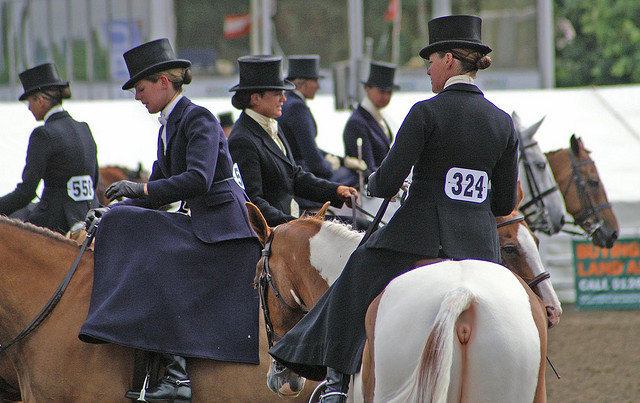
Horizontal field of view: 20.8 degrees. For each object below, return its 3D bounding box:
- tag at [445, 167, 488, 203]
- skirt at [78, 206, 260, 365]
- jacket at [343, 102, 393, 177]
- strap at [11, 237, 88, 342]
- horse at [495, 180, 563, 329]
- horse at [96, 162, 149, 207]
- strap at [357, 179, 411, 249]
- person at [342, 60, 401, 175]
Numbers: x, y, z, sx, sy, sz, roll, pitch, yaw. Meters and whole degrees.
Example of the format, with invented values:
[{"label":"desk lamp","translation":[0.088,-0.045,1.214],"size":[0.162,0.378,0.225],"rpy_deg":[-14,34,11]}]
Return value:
[{"label":"tag","translation":[1.995,-0.257,24.522],"size":[0.430,0.347,0.057],"rpy_deg":[6,2,-9]},{"label":"skirt","translation":[-2.381,1.345,26.399],"size":[2.761,2.218,1.758],"rpy_deg":[8,-8,-6]},{"label":"jacket","translation":[0.813,-1.119,29.135],"size":[0.622,1.193,1.201],"rpy_deg":[5,22,25]},{"label":"strap","translation":[-4.005,1.350,25.476],"size":[0.240,0.182,1.760],"rpy_deg":[-37,22,56]},{"label":"horse","translation":[3.018,0.743,25.758],"size":[0.473,2.296,1.362],"rpy_deg":[-9,3,-1]},{"label":"horse","translation":[-3.729,-0.350,31.991],"size":[1.238,0.815,0.291],"rpy_deg":[3,-4,-38]},{"label":"strap","translation":[0.896,0.176,25.078],"size":[0.178,0.235,1.113],"rpy_deg":[14,62,31]},{"label":"person","translation":[0.715,-1.432,29.144],"size":[0.864,2.079,0.746],"rpy_deg":[4,0,-39]}]
